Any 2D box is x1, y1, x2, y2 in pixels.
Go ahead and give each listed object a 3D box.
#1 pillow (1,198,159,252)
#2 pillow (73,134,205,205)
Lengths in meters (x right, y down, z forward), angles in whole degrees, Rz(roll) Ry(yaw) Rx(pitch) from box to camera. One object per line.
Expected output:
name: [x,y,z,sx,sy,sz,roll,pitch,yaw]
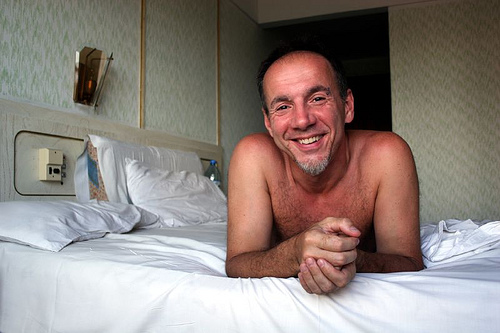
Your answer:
pillow: [-0.816,0.260,1.823,0.292,0.071,0.385,15,8,36]
pillow: [-0.735,0.067,2.921,0.348,0.469,1.292,-9,-7,21]
